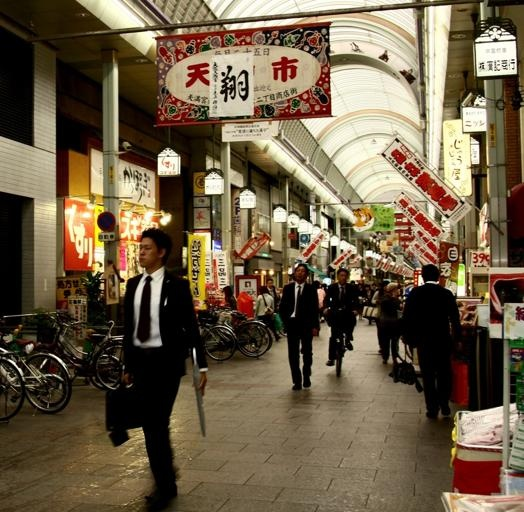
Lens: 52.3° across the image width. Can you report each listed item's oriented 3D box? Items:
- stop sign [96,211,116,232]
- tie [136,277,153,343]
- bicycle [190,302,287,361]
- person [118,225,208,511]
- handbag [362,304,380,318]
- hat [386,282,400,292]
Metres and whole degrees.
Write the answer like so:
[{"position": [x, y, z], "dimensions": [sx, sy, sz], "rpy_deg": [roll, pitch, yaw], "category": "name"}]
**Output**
[{"position": [-3.230, -0.731, 11.055], "dimensions": [0.351, 0.431, 0.426], "rpy_deg": [0, -2, -17], "category": "stop sign"}, {"position": [-0.717, 0.322, 3.281], "dimensions": [0.078, 0.396, 0.122], "rpy_deg": [-1, -2, 5], "category": "tie"}, {"position": [-0.593, 1.726, 11.894], "dimensions": [1.852, 0.954, 0.838], "rpy_deg": [0, -4, 0], "category": "bicycle"}, {"position": [-0.593, 0.649, 3.307], "dimensions": [0.507, 1.668, 0.439], "rpy_deg": [0, -2, -14], "category": "person"}, {"position": [2.416, 1.227, 11.918], "dimensions": [0.375, 0.323, 0.084], "rpy_deg": [-8, -34, 41], "category": "handbag"}, {"position": [2.584, 0.581, 10.575], "dimensions": [0.202, 0.210, 0.161], "rpy_deg": [33, -9, -25], "category": "hat"}]
